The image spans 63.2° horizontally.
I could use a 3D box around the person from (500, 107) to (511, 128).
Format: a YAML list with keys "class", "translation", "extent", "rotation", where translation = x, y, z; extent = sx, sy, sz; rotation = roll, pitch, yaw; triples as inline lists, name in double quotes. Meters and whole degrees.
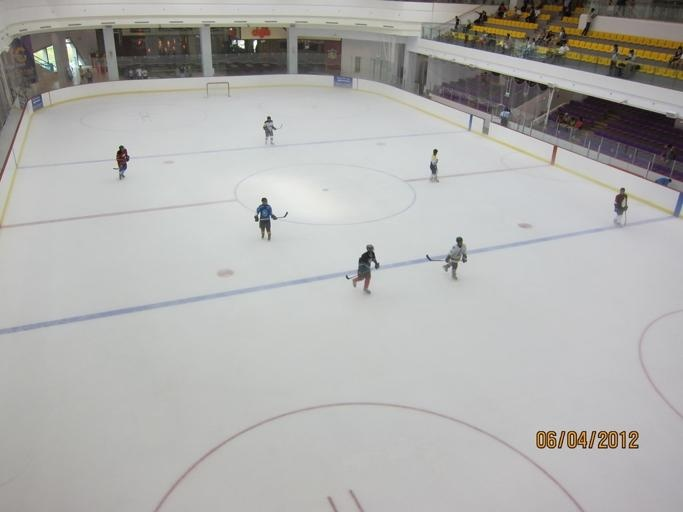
- class: "person"
  translation: [8.845, -7.488, 30.069]
  extent: [0.514, 0.754, 1.411]
  rotation: [5, 28, 13]

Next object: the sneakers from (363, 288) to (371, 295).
- class: "sneakers"
  translation: [0.730, 1.035, 16.205]
  extent: [0.207, 0.145, 0.112]
  rotation: [-2, 36, -3]

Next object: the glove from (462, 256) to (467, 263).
- class: "glove"
  translation: [3.726, 0.116, 16.925]
  extent: [0.137, 0.076, 0.204]
  rotation: [0, 21, 6]

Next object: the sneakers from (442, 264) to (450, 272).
- class: "sneakers"
  translation: [3.235, 0.381, 17.159]
  extent: [0.139, 0.209, 0.194]
  rotation: [-2, -7, 13]

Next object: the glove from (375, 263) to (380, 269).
- class: "glove"
  translation: [0.994, 0.279, 15.952]
  extent: [0.118, 0.064, 0.174]
  rotation: [0, 19, 2]

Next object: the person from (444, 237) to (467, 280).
- class: "person"
  translation: [3.458, 0.044, 16.983]
  extent: [0.607, 1.398, 0.614]
  rotation: [4, 32, 1]

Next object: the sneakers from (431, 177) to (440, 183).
- class: "sneakers"
  translation: [4.007, -3.311, 24.030]
  extent: [0.247, 0.304, 0.283]
  rotation: [-4, 31, -5]

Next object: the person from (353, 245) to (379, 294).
- class: "person"
  translation: [0.667, 0.341, 16.070]
  extent: [0.763, 1.455, 0.706]
  rotation: [2, 27, 7]
